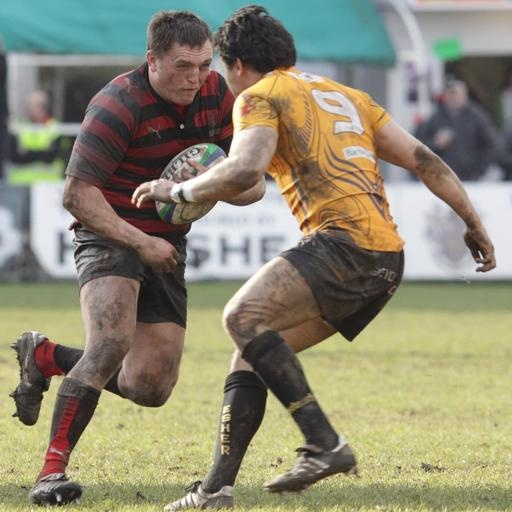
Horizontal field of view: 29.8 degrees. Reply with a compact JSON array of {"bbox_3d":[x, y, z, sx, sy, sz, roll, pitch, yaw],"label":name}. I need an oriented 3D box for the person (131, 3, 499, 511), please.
[{"bbox_3d":[0.083,-0.008,3.933,1.222,2.020,1.014,7,11,9],"label":"person"}]

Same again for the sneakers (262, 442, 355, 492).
[{"bbox_3d":[0.184,0.783,3.620,0.396,0.154,0.120,-9,-7,-24],"label":"sneakers"}]

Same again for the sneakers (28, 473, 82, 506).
[{"bbox_3d":[-0.798,0.921,3.792,0.203,0.118,0.112,3,11,-10],"label":"sneakers"}]

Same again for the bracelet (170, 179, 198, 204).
[{"bbox_3d":[-0.291,-0.265,3.936,0.102,0.074,0.046,-38,-3,40],"label":"bracelet"}]
